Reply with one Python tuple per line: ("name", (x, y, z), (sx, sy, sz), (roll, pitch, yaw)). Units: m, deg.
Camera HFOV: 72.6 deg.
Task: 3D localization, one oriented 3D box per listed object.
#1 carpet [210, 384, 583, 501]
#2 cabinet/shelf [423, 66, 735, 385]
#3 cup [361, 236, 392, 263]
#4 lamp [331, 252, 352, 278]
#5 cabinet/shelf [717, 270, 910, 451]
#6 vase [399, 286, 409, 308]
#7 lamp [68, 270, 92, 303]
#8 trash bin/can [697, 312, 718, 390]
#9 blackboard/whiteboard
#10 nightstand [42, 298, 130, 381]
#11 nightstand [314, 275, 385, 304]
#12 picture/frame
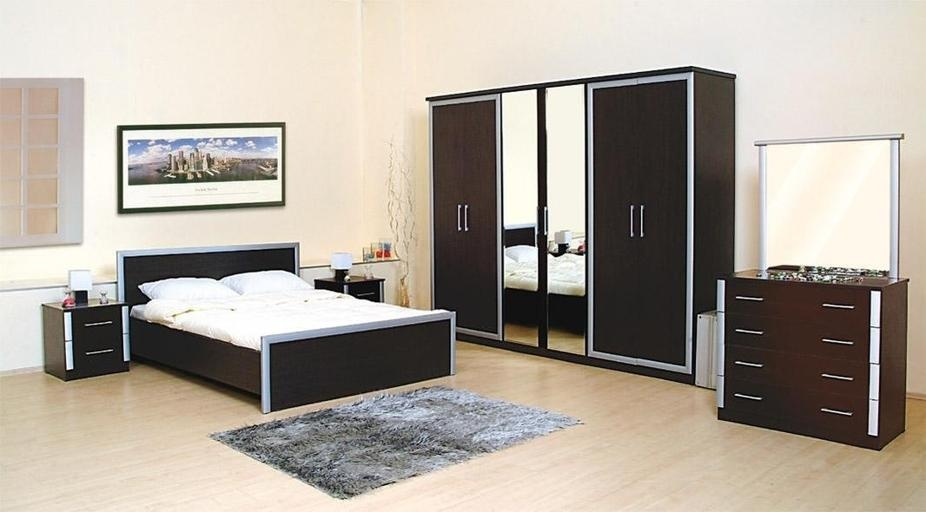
("carpet", (-0.598, 1.529, 5.425), (2.527, 0.202, 1.406), (-5, 10, -31))
("cabinet/shelf", (1.364, -0.285, 6.827), (4.136, 3.112, 1.316), (1, 2, 40))
("cup", (-1.155, -0.099, 8.642), (0.408, 0.264, 0.573), (-1, 9, -7))
("lamp", (-1.530, 0.129, 8.032), (0.331, 0.290, 0.305), (1, 0, 11))
("cabinet/shelf", (3.002, 0.897, 5.315), (1.662, 1.353, 0.947), (1, 2, 42))
("vase", (-0.786, 0.559, 8.654), (0.135, 0.320, 0.321), (0, 10, -5))
("lamp", (-4.112, 0.330, 6.771), (0.205, 0.364, 0.201), (-6, 12, -32))
("trash bin/can", (2.417, 0.953, 6.261), (0.179, 0.734, 0.175), (2, 10, 5))
("blackboard/whiteboard", (3.214, -0.461, 5.558), (1.132, 1.185, 0.191), (4, 11, 21))
("nightstand", (-4.107, 0.905, 6.871), (0.540, 0.586, 0.702), (-1, 0, 32))
("nightstand", (-1.407, 0.399, 8.002), (0.504, 0.409, 0.485), (3, 7, 34))
("picture/frame", (-3.234, -1.112, 7.892), (2.343, 1.050, 0.047), (0, 1, 11))
